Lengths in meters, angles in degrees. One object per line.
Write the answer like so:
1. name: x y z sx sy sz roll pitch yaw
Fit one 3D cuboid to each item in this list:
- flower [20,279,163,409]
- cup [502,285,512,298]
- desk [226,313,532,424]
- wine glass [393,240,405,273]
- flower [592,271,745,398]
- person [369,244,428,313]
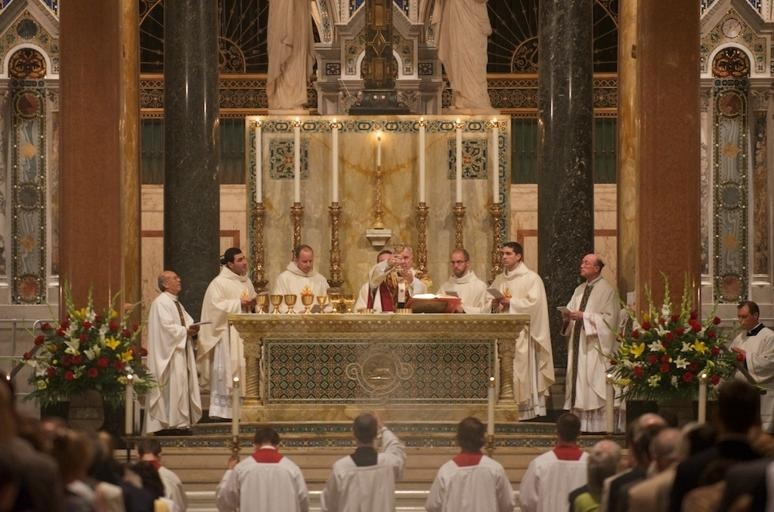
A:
1. flower: -3.740 1.177 26.037 1.433 1.186 1.370 10 15 31
2. cup: 1.627 0.453 27.154 0.123 0.134 0.161 2 -8 0
3. desk: -0.066 1.508 26.596 3.954 1.404 1.188 0 -5 0
4. wine glass: 0.179 0.022 26.548 0.107 0.293 0.218 -3 8 -1
5. flower: 3.839 0.932 25.665 1.142 1.028 1.029 6 0 -6
6. person: 0.163 0.453 26.843 0.770 1.199 0.670 9 2 -9
